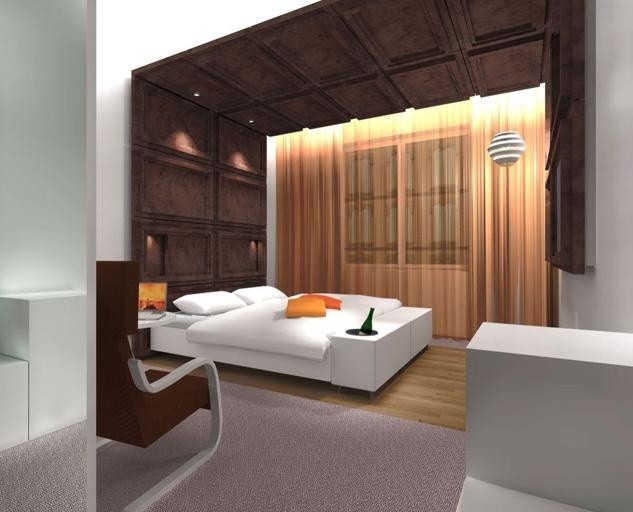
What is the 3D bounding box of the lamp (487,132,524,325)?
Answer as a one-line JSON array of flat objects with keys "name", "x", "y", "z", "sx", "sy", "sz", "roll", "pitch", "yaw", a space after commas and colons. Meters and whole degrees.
[{"name": "lamp", "x": 2.090, "y": -0.310, "z": 4.750, "sx": 0.364, "sy": 2.106, "sz": 0.614, "roll": 2, "pitch": 6, "yaw": 25}]
